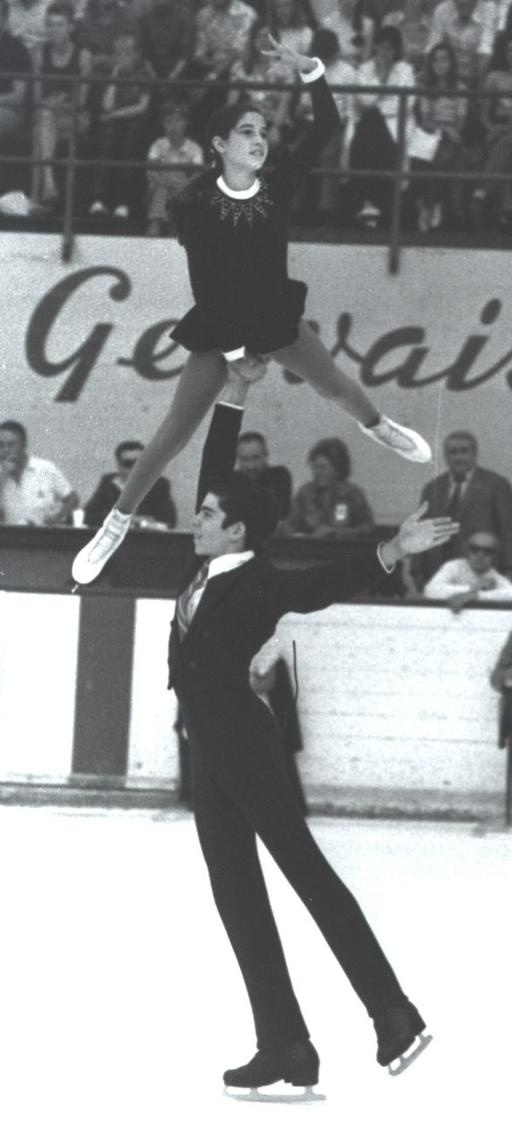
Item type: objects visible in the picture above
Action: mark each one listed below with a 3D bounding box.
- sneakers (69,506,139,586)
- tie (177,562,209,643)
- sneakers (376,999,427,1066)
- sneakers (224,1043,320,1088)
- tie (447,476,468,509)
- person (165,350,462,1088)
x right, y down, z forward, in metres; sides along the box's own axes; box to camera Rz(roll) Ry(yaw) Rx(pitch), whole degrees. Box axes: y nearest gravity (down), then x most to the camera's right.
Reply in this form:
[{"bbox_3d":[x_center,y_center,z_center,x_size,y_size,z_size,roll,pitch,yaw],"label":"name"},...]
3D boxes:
[{"bbox_3d":[-0.716,-0.132,5.169,0.145,0.442,0.161,38,25,2],"label":"sneakers"},{"bbox_3d":[-0.164,0.076,2.796,0.070,0.178,0.126,12,17,6],"label":"tie"},{"bbox_3d":[0.342,1.104,2.535,0.123,0.157,0.066,1,0,-12],"label":"sneakers"},{"bbox_3d":[0.052,1.214,2.660,0.278,0.137,0.097,0,-8,3],"label":"sneakers"},{"bbox_3d":[1.172,-0.483,6.233,0.050,0.273,0.068,7,14,12],"label":"tie"},{"bbox_3d":[0.120,0.504,2.798,0.719,1.648,0.711,1,0,7],"label":"person"}]
